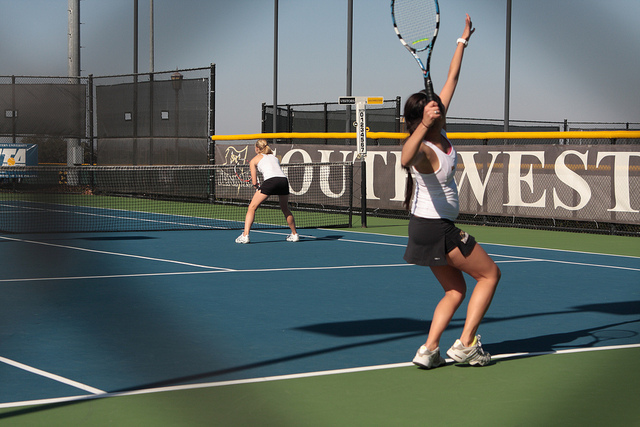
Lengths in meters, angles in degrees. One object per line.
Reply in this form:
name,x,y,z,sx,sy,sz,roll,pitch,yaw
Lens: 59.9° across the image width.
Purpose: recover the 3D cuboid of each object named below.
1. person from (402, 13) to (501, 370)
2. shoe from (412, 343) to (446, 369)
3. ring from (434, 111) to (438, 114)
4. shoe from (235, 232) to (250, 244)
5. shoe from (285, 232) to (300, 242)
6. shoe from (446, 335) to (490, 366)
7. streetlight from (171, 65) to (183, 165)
person,1.261,-0.204,5.360,0.877,3.516,1.253,2,7,17
shoe,1.136,1.429,5.604,0.183,0.239,0.529,9,-6,40
ring,1.006,-0.890,4.852,0.026,0.024,0.026,0,2,0
shoe,-1.821,0.559,12.936,0.322,0.239,0.301,0,6,-5
shoe,-0.663,0.561,13.294,0.159,0.183,0.366,0,4,-30
shoe,1.493,1.375,5.546,0.468,0.314,0.140,-2,7,-20
streetlight,-6.105,-4.032,23.663,0.274,3.836,0.896,-3,7,-27
